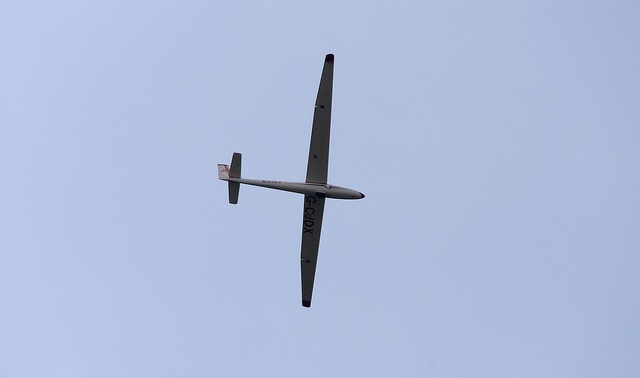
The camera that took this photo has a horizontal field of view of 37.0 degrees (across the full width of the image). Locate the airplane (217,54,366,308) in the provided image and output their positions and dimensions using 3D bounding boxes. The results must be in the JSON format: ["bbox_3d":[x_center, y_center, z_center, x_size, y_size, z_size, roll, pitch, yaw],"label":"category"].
[{"bbox_3d":[-2.323,0.370,75.319,12.061,3.245,18.029,10,68,-18],"label":"airplane"}]
